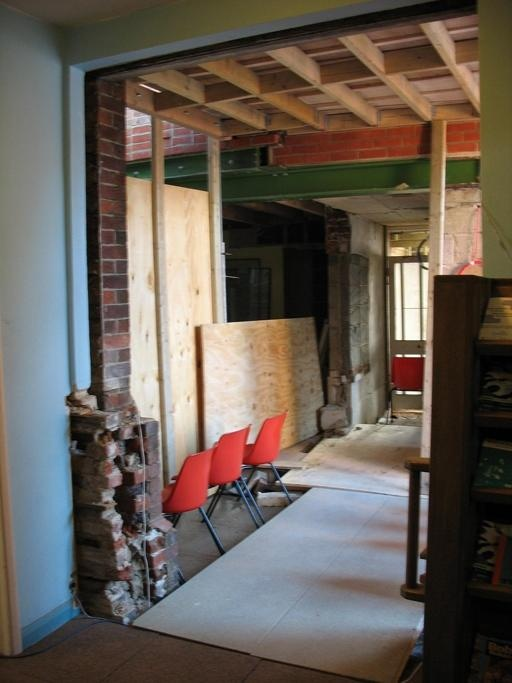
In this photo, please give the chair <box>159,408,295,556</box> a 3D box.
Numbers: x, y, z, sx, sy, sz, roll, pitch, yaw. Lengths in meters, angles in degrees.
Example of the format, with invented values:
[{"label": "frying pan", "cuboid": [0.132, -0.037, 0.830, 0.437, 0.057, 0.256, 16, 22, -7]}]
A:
[{"label": "chair", "cuboid": [-0.238, 1.033, 4.405, 0.341, 0.497, 0.930, 6, 6, 24]}]
